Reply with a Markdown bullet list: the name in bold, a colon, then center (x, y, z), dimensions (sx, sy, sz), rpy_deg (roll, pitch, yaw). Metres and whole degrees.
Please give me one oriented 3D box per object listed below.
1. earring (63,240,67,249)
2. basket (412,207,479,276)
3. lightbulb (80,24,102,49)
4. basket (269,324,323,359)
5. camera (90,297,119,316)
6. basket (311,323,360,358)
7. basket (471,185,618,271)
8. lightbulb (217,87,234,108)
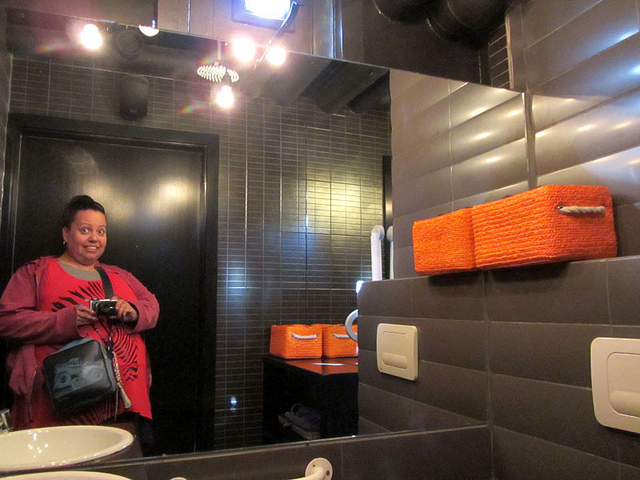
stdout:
- **earring**: center (-0.667, 0.011, 1.261), dimensions (0.003, 0.015, 0.011), rpy_deg (-3, 6, -4)
- **basket**: center (0.428, 0.012, 1.624), dimensions (0.195, 0.196, 0.076), rpy_deg (-6, -13, 21)
- **lightbulb**: center (-0.656, -0.586, 1.385), dimensions (0.056, 0.086, 0.027), rpy_deg (-1, -5, -24)
- **basket**: center (-0.069, 0.278, 1.416), dimensions (0.109, 0.075, 0.111), rpy_deg (3, -5, -23)
- **camera**: center (-0.578, 0.177, 1.293), dimensions (0.064, 0.046, 0.046), rpy_deg (3, 3, -18)
- **basket**: center (0.066, 0.322, 1.543), dimensions (0.139, 0.086, 0.146), rpy_deg (-7, -10, 8)
- **basket**: center (0.703, 0.045, 1.438), dimensions (0.237, 0.204, 0.339), rpy_deg (4, -12, -32)
- **lightbulb**: center (-0.281, -0.428, 1.444), dimensions (0.056, 0.072, 0.058), rpy_deg (-5, 16, -35)
